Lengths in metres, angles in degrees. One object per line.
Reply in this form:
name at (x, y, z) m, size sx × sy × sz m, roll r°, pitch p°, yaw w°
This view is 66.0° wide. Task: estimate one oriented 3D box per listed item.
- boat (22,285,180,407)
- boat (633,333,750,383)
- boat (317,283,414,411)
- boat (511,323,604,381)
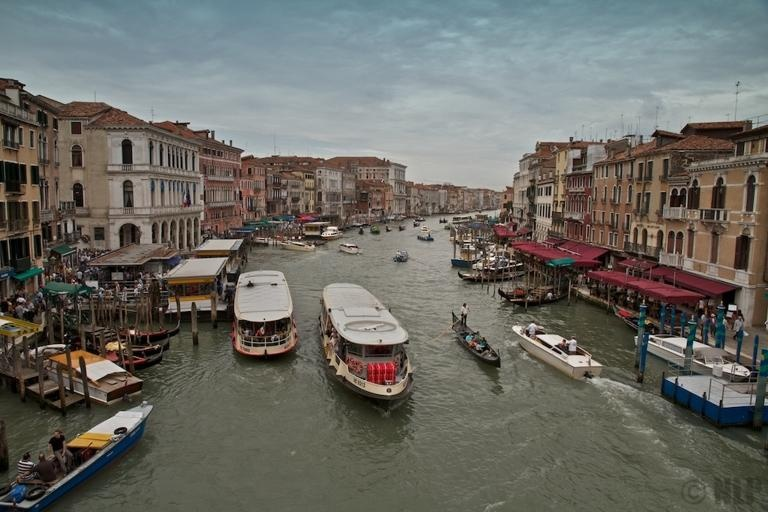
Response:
boat at (-21.838, 7.602, 45.296) m, size 11.818 × 3.980 × 6.676 m, roll 34°, pitch 28°, yaw 31°
boat at (24.006, 7.720, 44.983) m, size 3.011 × 2.061 × 8.426 m, roll -1°, pitch 9°, yaw -11°
boat at (-1.566, 6.734, 44.585) m, size 4.502 × 3.035 × 10.734 m, roll -3°, pitch 14°, yaw -12°
boat at (13.898, 7.481, 47.551) m, size 2.653 × 1.628 × 7.343 m, roll -1°, pitch 12°, yaw -21°
